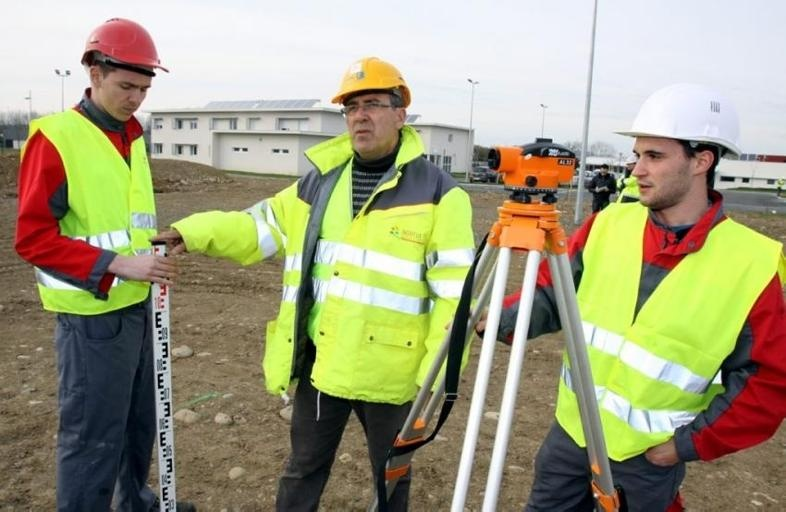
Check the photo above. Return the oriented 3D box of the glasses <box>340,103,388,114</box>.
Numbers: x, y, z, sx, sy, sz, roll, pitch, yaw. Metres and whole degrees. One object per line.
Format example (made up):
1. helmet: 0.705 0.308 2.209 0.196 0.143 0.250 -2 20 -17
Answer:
1. glasses: -0.193 -0.954 4.981 0.298 0.080 0.230 -3 5 2

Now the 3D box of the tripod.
1. tripod: 0.635 0.665 4.318 1.171 2.026 0.978 -1 13 -24
